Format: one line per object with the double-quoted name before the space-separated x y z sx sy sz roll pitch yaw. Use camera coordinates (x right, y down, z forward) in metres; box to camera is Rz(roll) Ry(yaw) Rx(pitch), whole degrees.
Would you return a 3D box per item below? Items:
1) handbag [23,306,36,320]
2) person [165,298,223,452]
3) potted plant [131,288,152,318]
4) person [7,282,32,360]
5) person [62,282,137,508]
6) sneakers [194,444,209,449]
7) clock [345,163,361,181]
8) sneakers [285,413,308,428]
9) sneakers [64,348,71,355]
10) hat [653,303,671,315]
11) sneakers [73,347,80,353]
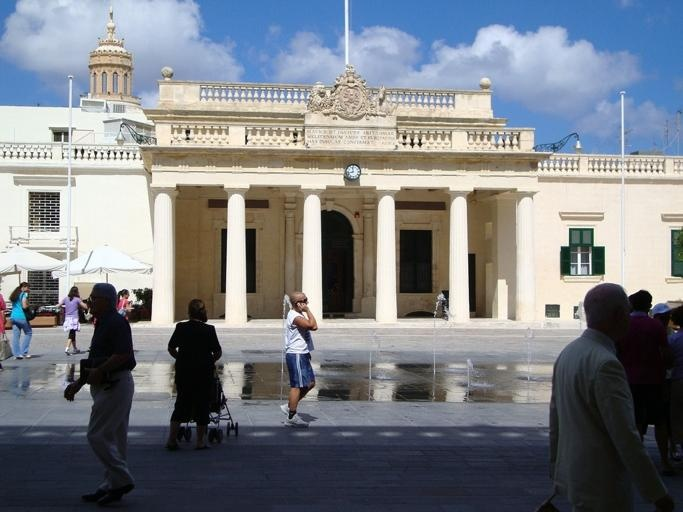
"handbag" -7.689 1.381 23.991 0.194 0.259 0.332 -1 0 12
"person" -2.228 1.730 14.603 0.807 1.809 0.499 -1 0 -8
"potted plant" -7.666 1.807 37.574 1.112 1.328 1.007 1 -10 -12
"person" -7.981 1.584 24.165 0.443 1.407 0.916 -1 0 -19
"person" -3.060 1.719 12.651 0.773 2.200 0.733 -1 0 5
"sneakers" -2.062 2.784 14.437 0.228 0.062 0.103 -1 0 -29
"clock" 0.395 -3.011 35.208 0.588 0.576 0.576 -9 13 -27
"sneakers" -0.741 2.661 15.925 0.366 0.175 0.157 1 -1 2
"sneakers" -7.173 2.443 25.340 0.218 0.205 0.119 0 4 -11
"hat" 4.829 0.772 14.627 0.249 0.095 0.182 -16 10 -30
"sneakers" -7.053 2.465 25.860 0.081 0.102 0.239 2 3 12
